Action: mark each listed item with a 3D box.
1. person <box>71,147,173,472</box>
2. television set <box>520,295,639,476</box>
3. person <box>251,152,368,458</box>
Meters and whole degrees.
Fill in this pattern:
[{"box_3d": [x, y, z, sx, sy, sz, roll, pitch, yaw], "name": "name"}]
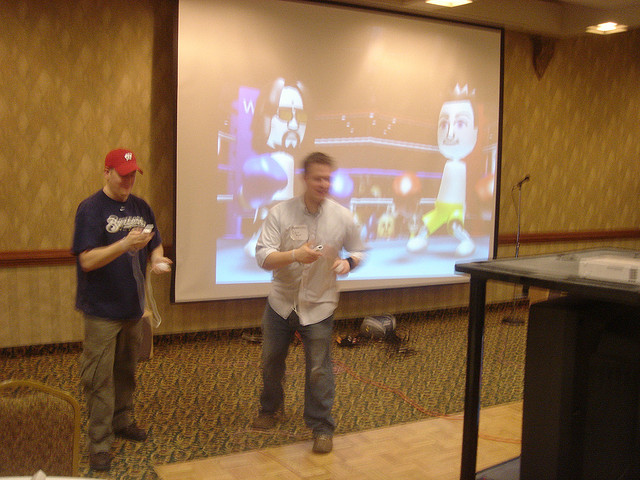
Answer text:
[{"box_3d": [-1.235, 0.418, 3.262, 0.585, 1.958, 0.430, -6, 11, -41], "name": "person"}, {"box_3d": [1.124, 0.662, 2.197, 0.471, 0.805, 0.160, 5, 9, 24], "name": "television set"}, {"box_3d": [-0.069, 0.418, 3.469, 0.755, 1.997, 0.481, 1, 8, -8], "name": "person"}]
